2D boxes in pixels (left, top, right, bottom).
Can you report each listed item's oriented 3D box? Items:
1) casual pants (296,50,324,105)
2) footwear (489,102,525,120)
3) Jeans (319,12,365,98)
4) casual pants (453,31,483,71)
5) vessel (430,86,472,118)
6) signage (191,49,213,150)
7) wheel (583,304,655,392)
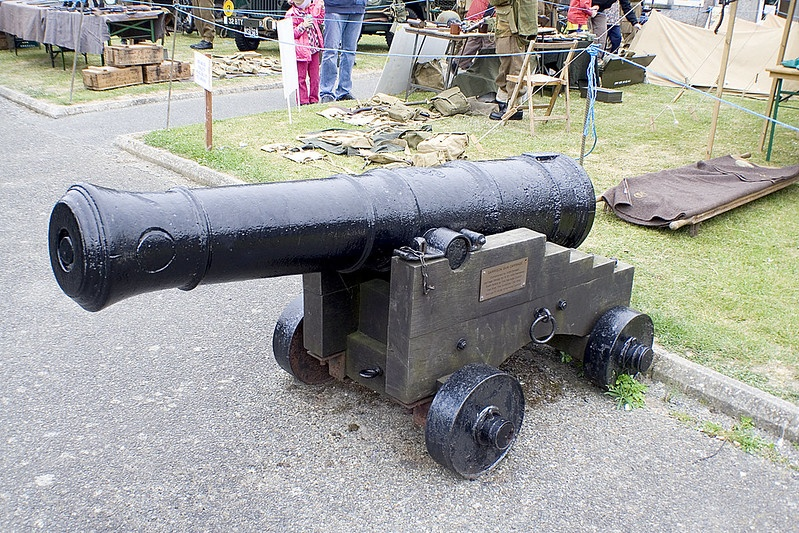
[{"bbox_3d":[-1.584,-3.299,11.019,0.344,0.308,1.307,-11,42,-2],"label":"casual pants"},{"bbox_3d":[1.771,-2.596,10.600,0.697,0.314,0.290,-1,12,-11],"label":"footwear"},{"bbox_3d":[-1.013,-3.723,11.162,0.513,1.709,0.396,3,5,-31],"label":"Jeans"},{"bbox_3d":[1.329,-3.941,11.712,0.474,0.600,0.540,5,23,5],"label":"casual pants"},{"bbox_3d":[0.847,-2.819,10.812,0.726,0.370,0.627,-14,28,-35],"label":"vessel"},{"bbox_3d":[-2.417,-2.039,7.901,0.165,1.178,0.372,-11,26,-29],"label":"signage"},{"bbox_3d":[1.591,0.595,4.375,0.555,0.562,0.316,-18,28,-38],"label":"wheel"}]
